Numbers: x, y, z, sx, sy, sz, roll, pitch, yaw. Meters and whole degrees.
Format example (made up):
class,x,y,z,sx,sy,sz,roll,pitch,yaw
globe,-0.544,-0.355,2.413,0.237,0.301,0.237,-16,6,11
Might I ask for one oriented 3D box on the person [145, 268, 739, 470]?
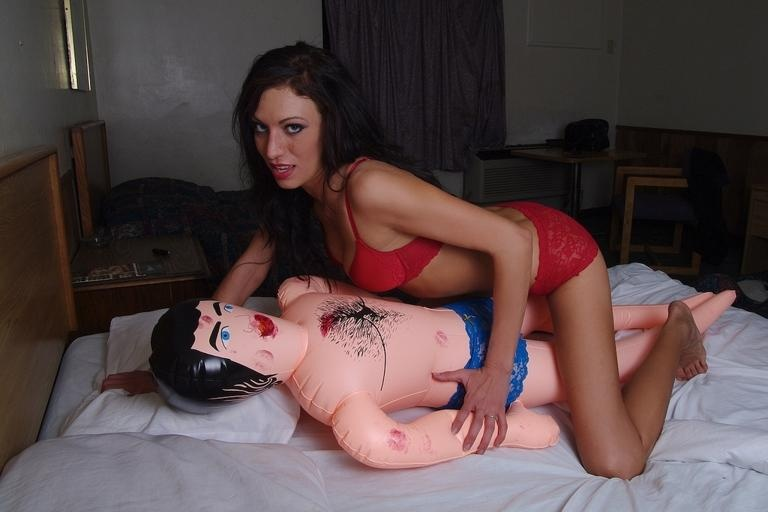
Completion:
class,x,y,z,sx,sy,sz,roll,pitch,yaw
person,0.229,0.349,1.868,1.878,0.397,0.869,-1,30,-12

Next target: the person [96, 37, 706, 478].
class,x,y,z,sx,sy,sz,roll,pitch,yaw
person,0.210,0.023,2.006,1.904,1.075,0.746,13,11,5

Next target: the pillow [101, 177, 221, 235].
class,x,y,z,sx,sy,sz,roll,pitch,yaw
pillow,-1.307,-0.229,3.208,0.528,0.140,0.429,-1,28,-7
